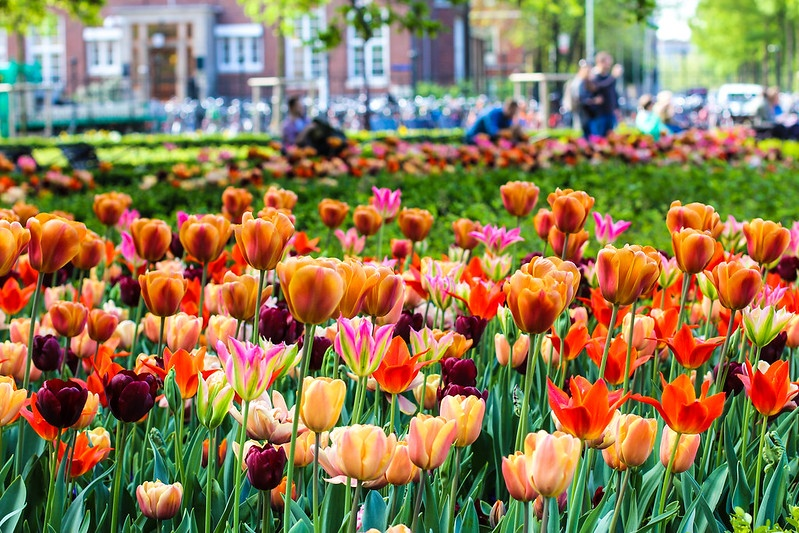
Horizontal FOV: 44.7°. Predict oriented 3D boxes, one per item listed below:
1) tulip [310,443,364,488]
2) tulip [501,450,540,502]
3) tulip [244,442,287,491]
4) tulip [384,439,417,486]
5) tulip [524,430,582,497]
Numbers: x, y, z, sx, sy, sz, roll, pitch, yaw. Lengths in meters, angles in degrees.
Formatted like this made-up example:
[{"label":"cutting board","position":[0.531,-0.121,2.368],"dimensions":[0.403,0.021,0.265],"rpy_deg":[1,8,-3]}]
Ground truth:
[{"label":"tulip","position":[-0.179,0.553,2.689],"dimensions":[0.096,0.111,0.117],"rpy_deg":[6,-8,-1]},{"label":"tulip","position":[0.307,0.565,2.631],"dimensions":[0.094,0.153,0.113],"rpy_deg":[-5,5,-2]},{"label":"tulip","position":[-0.364,0.544,2.699],"dimensions":[0.094,0.157,0.110],"rpy_deg":[1,7,12]},{"label":"tulip","position":[-0.003,0.540,2.729],"dimensions":[0.086,0.142,0.091],"rpy_deg":[0,9,-28]},{"label":"tulip","position":[0.392,0.516,2.551],"dimensions":[0.141,0.213,0.148],"rpy_deg":[4,0,39]}]
